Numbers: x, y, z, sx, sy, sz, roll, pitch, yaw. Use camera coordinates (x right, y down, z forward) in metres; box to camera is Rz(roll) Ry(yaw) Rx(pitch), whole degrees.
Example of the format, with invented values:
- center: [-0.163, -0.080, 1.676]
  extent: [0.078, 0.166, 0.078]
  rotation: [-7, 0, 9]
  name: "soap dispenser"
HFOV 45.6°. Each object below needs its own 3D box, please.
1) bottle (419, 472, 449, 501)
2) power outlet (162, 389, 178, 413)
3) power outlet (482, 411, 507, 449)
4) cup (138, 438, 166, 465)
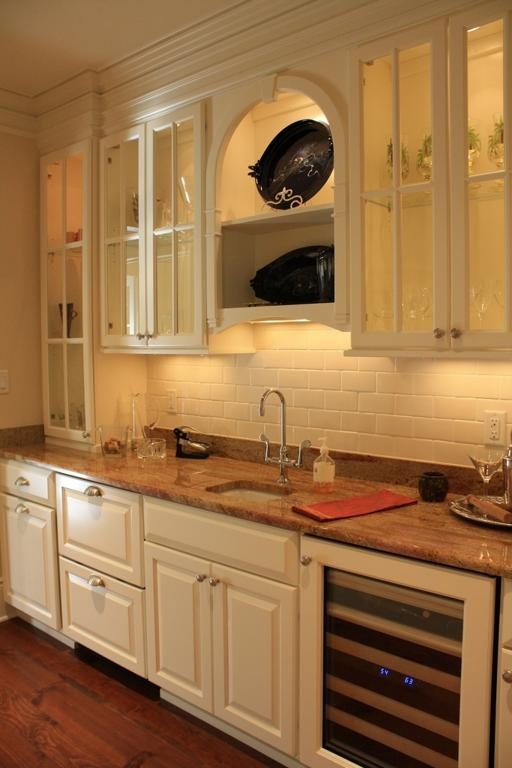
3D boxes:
- center: [0.552, 0.322, 1.887]
  extent: [0.083, 0.083, 0.083]
  rotation: [-4, 2, -30]
  name: "bottle"
- center: [-0.436, 0.086, 3.090]
  extent: [0.118, 0.167, 0.017]
  rotation: [1, 1, 40]
  name: "power outlet"
- center: [0.755, 0.142, 1.914]
  extent: [0.015, 0.111, 0.071]
  rotation: [-2, 1, -40]
  name: "power outlet"
- center: [-0.462, 0.301, 2.679]
  extent: [0.086, 0.084, 0.114]
  rotation: [0, -1, 42]
  name: "cup"
